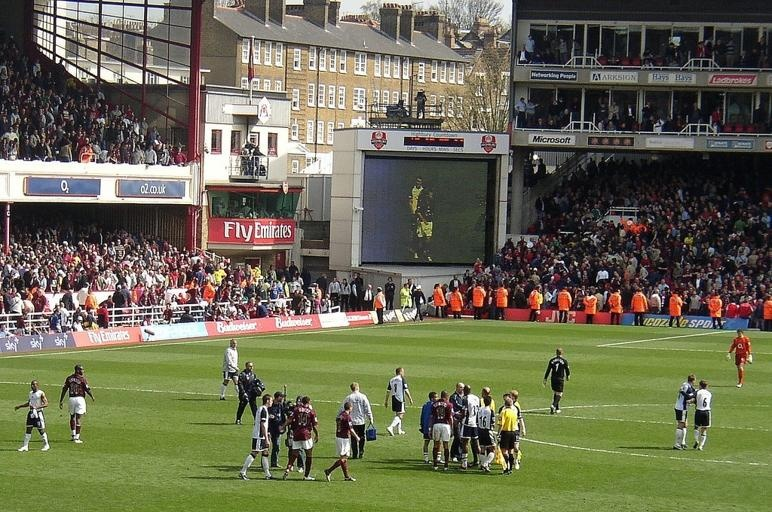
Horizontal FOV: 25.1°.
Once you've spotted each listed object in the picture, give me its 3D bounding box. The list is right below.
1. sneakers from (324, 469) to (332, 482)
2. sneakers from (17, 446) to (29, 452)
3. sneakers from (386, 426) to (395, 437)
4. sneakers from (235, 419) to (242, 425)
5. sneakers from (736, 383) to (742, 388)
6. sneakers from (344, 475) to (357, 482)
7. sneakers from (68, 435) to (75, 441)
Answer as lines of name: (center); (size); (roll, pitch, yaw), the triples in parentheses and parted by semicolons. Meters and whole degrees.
sneakers: (-2.542, 9.545, 75.389); (0.230, 0.560, 0.188); (-8, 8, 10)
sneakers: (-16.155, 8.554, 77.163); (0.456, 0.205, 0.181); (1, -3, 16)
sneakers: (0.225, 8.009, 79.638); (0.209, 0.503, 0.166); (-34, 33, -9)
sneakers: (-6.846, 7.682, 80.649); (0.238, 0.247, 0.155); (0, 2, 3)
sneakers: (17.773, 6.482, 87.130); (0.182, 0.207, 0.505); (0, -4, 7)
sneakers: (-1.536, 9.657, 75.365); (0.468, 0.209, 0.186); (2, 1, -7)
sneakers: (-14.135, 8.154, 78.126); (0.271, 0.383, 0.239); (-3, -7, 21)
